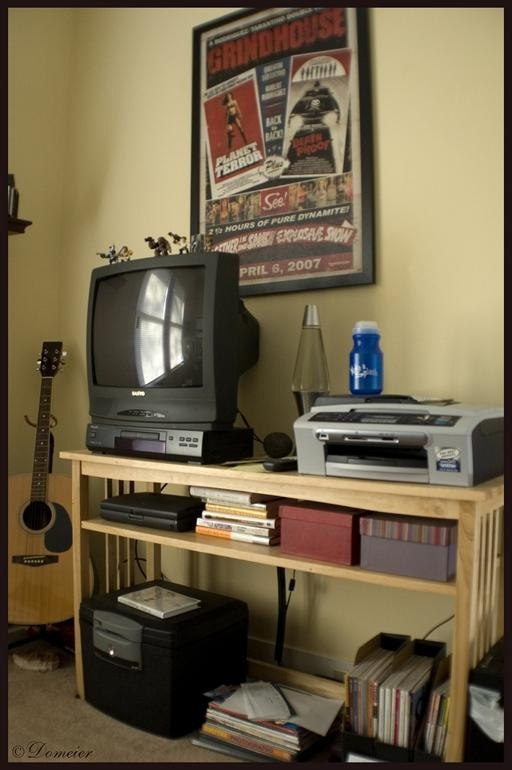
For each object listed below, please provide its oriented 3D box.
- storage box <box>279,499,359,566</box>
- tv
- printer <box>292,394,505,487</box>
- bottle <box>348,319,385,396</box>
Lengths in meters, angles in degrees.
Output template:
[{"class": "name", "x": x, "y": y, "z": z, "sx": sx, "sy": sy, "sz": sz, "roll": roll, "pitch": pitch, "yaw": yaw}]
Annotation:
[{"class": "storage box", "x": 0.131, "y": 0.270, "z": 1.277, "sx": 0.173, "sy": 0.118, "sz": 0.095, "roll": -1, "pitch": -2, "yaw": 44}, {"class": "tv", "x": -0.215, "y": -0.125, "z": 1.836, "sx": 0.560, "sy": 0.581, "sz": 0.388, "roll": -1, "pitch": -3, "yaw": 36}, {"class": "printer", "x": 0.281, "y": 0.115, "z": 1.230, "sx": 0.416, "sy": 0.176, "sz": 0.217, "roll": 3, "pitch": 3, "yaw": 28}, {"class": "bottle", "x": 0.256, "y": -0.063, "z": 1.409, "sx": 0.072, "sy": 0.173, "sz": 0.069, "roll": 1, "pitch": 3, "yaw": 0}]
